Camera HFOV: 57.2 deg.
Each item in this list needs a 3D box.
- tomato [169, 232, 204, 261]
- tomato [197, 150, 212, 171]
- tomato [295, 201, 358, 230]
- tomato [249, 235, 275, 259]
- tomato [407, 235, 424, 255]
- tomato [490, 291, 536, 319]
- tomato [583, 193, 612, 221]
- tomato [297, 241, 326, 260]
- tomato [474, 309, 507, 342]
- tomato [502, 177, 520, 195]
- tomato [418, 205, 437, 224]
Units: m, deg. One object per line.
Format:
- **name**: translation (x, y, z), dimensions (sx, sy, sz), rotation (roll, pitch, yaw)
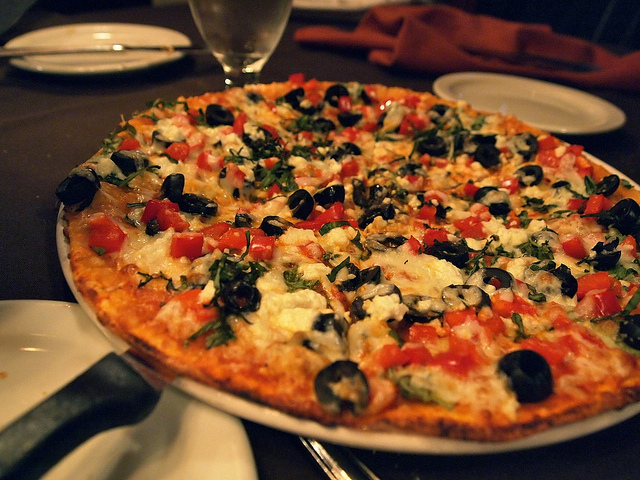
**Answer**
- **tomato**: translation (-0.592, 0.026, 2.648), dimensions (0.134, 0.091, 0.124), rotation (6, 27, -3)
- **tomato**: translation (-0.630, -0.442, 3.231), dimensions (0.039, 0.097, 0.089), rotation (6, 24, 3)
- **tomato**: translation (0.026, -0.123, 3.060), dimensions (0.252, 0.085, 0.166), rotation (-2, 17, -8)
- **tomato**: translation (-0.258, 0.027, 2.669), dimensions (0.097, 0.057, 0.118), rotation (6, 35, 0)
- **tomato**: translation (0.472, 0.023, 2.895), dimensions (0.078, 0.021, 0.075), rotation (-10, 50, -48)
- **tomato**: translation (0.868, 0.301, 2.643), dimensions (0.130, 0.051, 0.158), rotation (-13, 38, -34)
- **tomato**: translation (1.481, -0.170, 3.102), dimensions (0.141, 0.056, 0.137), rotation (12, 59, 51)
- **tomato**: translation (-0.047, 0.048, 2.807), dimensions (0.080, 0.034, 0.116), rotation (2, 21, -11)
- **tomato**: translation (0.747, 0.356, 2.604), dimensions (0.124, 0.046, 0.138), rotation (5, 19, 40)
- **tomato**: translation (1.140, -0.320, 3.503), dimensions (0.105, 0.029, 0.094), rotation (-20, 82, -6)
- **tomato**: translation (0.594, -0.146, 3.264), dimensions (0.094, 0.086, 0.092), rotation (25, 5, -1)
